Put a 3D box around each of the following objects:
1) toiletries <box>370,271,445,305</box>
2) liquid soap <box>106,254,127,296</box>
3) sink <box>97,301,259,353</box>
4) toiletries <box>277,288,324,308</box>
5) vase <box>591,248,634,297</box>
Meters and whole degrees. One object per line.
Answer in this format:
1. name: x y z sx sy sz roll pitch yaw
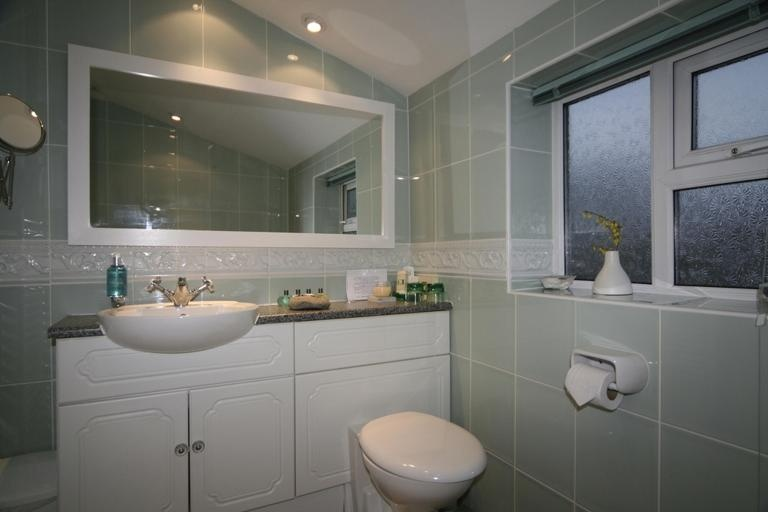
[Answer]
1. toiletries: 0.152 0.189 3.410 0.492 0.192 0.336 0 3 6
2. liquid soap: -1.488 0.107 2.871 0.109 0.227 0.137 -2 3 -27
3. sink: -1.115 0.321 2.827 0.795 0.234 0.787 1 -1 -29
4. toiletries: -0.495 0.249 3.166 0.291 0.103 0.345 -1 3 -10
5. vase: 1.165 0.085 2.637 0.187 0.230 0.085 1 3 24
